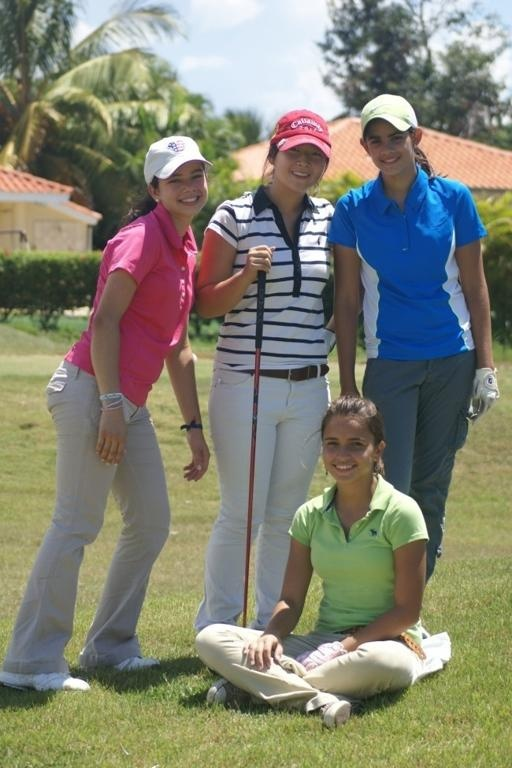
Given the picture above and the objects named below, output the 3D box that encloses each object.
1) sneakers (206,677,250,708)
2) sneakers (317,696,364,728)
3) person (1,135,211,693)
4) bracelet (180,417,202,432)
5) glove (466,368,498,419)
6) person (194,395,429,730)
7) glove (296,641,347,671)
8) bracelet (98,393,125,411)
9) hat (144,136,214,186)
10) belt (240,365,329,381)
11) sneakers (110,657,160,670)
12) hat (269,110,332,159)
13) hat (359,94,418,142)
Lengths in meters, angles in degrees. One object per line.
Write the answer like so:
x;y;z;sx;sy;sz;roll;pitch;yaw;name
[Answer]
-0.081;0.946;3.395;0.158;0.065;0.053;17;-20;-41;sneakers
0.230;0.960;3.227;0.054;0.041;0.117;10;4;23;sneakers
-0.480;0.070;3.754;0.386;1.847;0.984;2;7;42;person
-0.248;0.151;4.135;0.053;0.028;0.053;7;-11;-41;bracelet
0.828;0.029;4.003;0.111;0.164;0.063;3;4;3;glove
0.210;0.507;3.491;0.561;0.899;0.641;1;7;36;person
0.198;0.827;3.366;0.112;0.039;0.084;-27;33;-20;glove
-0.466;0.056;3.549;0.052;0.042;0.060;2;-9;-2;bracelet
-0.289;-0.760;3.797;0.160;0.097;0.199;-13;7;-24;hat
0.122;-0.037;4.062;0.352;0.058;0.100;-4;5;-21;belt
-0.417;0.966;3.798;0.149;0.054;0.054;-6;-1;14;sneakers
0.154;-0.904;3.997;0.222;0.183;0.334;-3;5;4;hat
0.473;-0.966;3.931;0.200;0.161;0.256;-2;5;9;hat
